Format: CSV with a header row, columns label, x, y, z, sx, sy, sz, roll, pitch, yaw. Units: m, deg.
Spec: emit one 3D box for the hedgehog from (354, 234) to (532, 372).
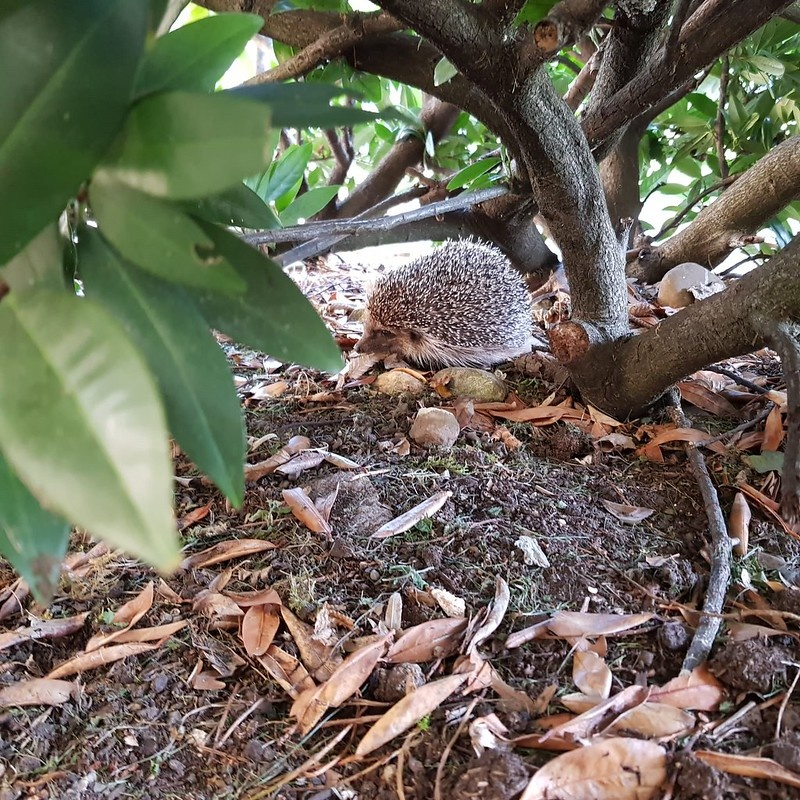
label,x,y,z,sx,sy,sz,roll,pitch,yaw
hedgehog,0.193,-0.331,2.703,0.510,0.161,0.490,21,43,20
